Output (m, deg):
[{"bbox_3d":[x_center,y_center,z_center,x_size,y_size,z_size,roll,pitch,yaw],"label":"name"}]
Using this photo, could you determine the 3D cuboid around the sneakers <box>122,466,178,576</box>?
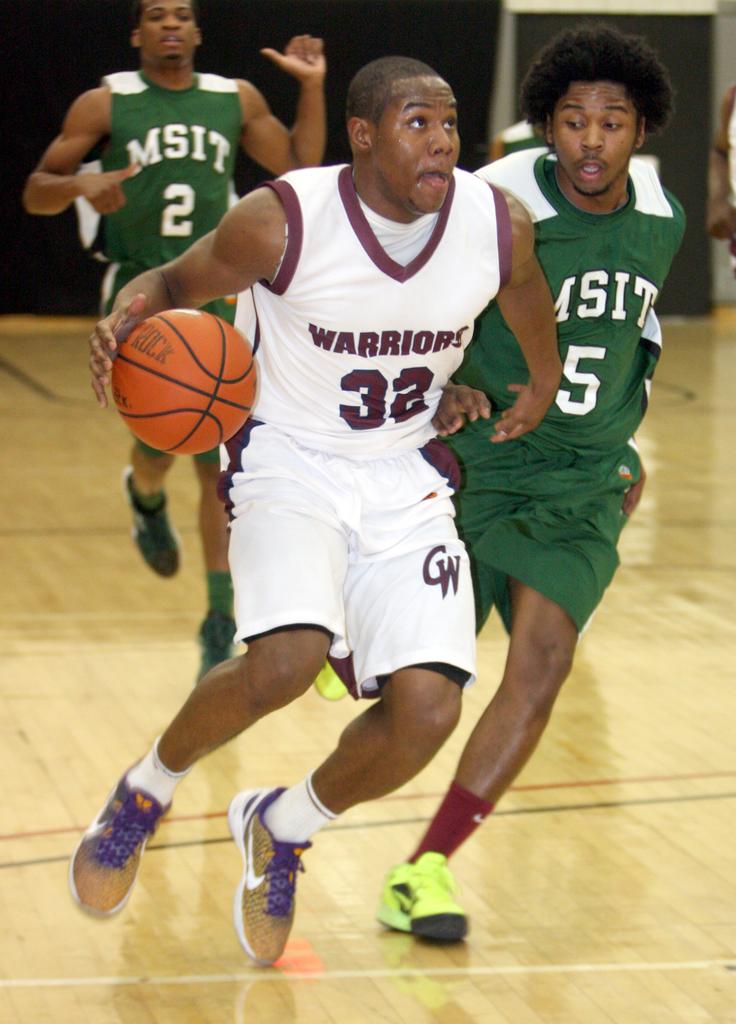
[{"bbox_3d":[-0.767,0.037,3.635,0.153,0.407,0.185,-18,25,-10],"label":"sneakers"}]

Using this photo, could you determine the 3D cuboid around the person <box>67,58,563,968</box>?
[{"bbox_3d":[-0.102,0.023,1.522,0.618,1.345,0.803,10,28,15],"label":"person"}]

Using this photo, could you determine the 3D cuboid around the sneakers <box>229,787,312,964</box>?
[{"bbox_3d":[-0.163,0.561,1.520,0.095,0.117,0.252,29,42,-42],"label":"sneakers"}]

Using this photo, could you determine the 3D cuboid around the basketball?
[{"bbox_3d":[-0.261,-0.210,1.586,0.238,0.243,0.224,-1,14,-34],"label":"basketball"}]
